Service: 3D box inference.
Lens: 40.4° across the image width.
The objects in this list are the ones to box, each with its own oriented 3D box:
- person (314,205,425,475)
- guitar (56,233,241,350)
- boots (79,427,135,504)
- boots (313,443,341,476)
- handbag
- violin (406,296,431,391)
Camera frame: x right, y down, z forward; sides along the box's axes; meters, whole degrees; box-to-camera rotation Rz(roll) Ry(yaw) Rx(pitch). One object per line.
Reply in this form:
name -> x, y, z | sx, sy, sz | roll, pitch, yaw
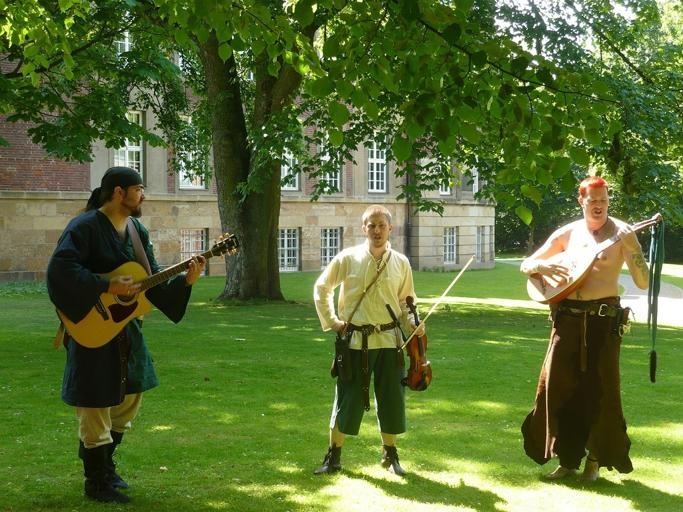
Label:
person -> 0.282, 0.843, 9.751 | 1.107, 2.586, 1.173 | 0, 0, -1
guitar -> -1.834, 0.231, 9.052 | 1.973, 0.722, 0.201 | -28, 1, -32
boots -> -2.256, 1.988, 8.750 | 0.439, 0.515, 0.535 | -2, 10, -17
boots -> -0.140, 2.010, 9.368 | 0.272, 0.267, 0.296 | 1, 9, -2
handbag -> 0.207, 0.568, 9.560 | 0.555, 1.338, 0.572 | 2, 6, -12
violin -> 0.785, 0.897, 9.371 | 0.243, 0.890, 0.244 | 1, 6, -10
